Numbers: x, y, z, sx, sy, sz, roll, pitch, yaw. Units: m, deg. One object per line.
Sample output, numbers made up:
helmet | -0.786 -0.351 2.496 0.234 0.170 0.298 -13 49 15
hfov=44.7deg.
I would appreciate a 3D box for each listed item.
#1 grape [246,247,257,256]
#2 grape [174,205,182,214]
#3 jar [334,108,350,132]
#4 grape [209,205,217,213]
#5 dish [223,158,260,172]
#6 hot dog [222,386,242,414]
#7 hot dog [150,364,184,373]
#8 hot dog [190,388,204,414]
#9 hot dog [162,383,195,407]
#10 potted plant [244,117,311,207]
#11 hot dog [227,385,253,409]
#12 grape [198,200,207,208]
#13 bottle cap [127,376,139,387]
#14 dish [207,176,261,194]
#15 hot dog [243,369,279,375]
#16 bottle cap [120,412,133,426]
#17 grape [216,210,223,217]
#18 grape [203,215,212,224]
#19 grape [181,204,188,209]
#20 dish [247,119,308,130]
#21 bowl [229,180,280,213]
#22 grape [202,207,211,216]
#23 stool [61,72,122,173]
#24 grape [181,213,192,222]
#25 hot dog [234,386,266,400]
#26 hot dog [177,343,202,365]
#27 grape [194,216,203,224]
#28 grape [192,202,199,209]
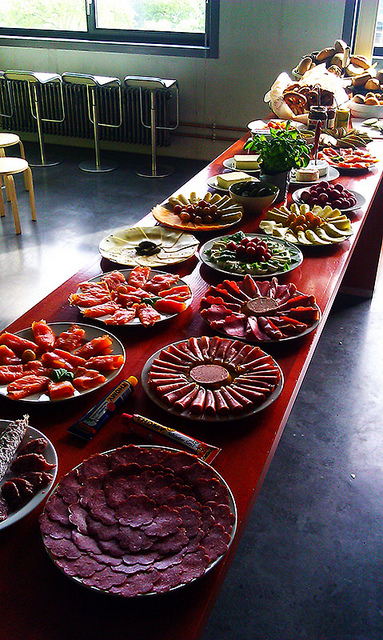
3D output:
grape | 0.177 -0.204 1.383 0.022 0.027 0.023 1 11 12
grape | -0.050 -0.412 1.725 0.026 0.024 0.027 4 9 31
jar | 0.908 -1.190 2.778 0.074 0.117 0.172 22 32 36
grape | 0.078 -0.403 1.688 0.025 0.014 0.025 8 24 15
dish | 0.221 -0.776 2.291 0.132 0.018 0.130 -11 40 -19
hot dog | 0.076 0.144 0.836 0.012 0.011 0.058 -7 28 -11
hot dog | -0.050 0.094 0.924 0.064 0.011 0.023 2 26 1
hot dog | 0.010 0.144 0.824 0.014 0.011 0.052 22 29 10
hot dog | -0.024 0.136 0.851 0.021 0.018 0.073 -20 1 24
potted plant | 0.317 -0.601 1.810 0.239 0.305 0.235 10 16 19
hot dog | 0.086 0.141 0.846 0.016 0.016 0.066 -6 25 -25
grape | 0.040 -0.423 1.693 0.028 0.018 0.049 0 26 -3
bottle cap | -0.118 0.122 0.935 0.015 0.016 0.017 -14 52 28
dish | 0.175 -0.556 1.913 0.119 0.030 0.131 14 25 18
hot dog | 0.138 0.104 0.918 0.064 0.012 0.014 2 26 0
bottle cap | -0.113 0.172 0.808 0.015 0.020 0.019 9 62 1
grape | 0.101 -0.388 1.691 0.021 0.021 0.021 -14 59 -3
grape | 0.058 -0.362 1.678 0.028 0.028 0.032 -7 27 -18
grape | -0.028 -0.426 1.741 0.018 0.007 0.029 -1 34 1
dish | 0.525 -1.177 2.797 0.331 0.044 0.444 7 26 10
bowl | 0.238 -0.473 1.806 0.197 0.114 0.132 5 26 8
grape | 0.054 -0.392 1.680 0.037 0.029 0.013 -11 28 -25
stool | -1.164 -2.185 5.604 0.701 1.381 0.654 8 34 13
grape | -0.017 -0.369 1.669 0.018 0.035 0.042 18 30 32
hot dog | 0.106 0.135 0.854 0.066 0.019 0.018 20 72 51
hot dog | -0.010 0.072 1.004 0.021 0.022 0.081 15 23 -43
grape | 0.023 -0.355 1.650 0.024 0.029 0.024 -22 42 -3
grape | 0.015 -0.428 1.729 0.021 0.009 0.029 6 33 20
